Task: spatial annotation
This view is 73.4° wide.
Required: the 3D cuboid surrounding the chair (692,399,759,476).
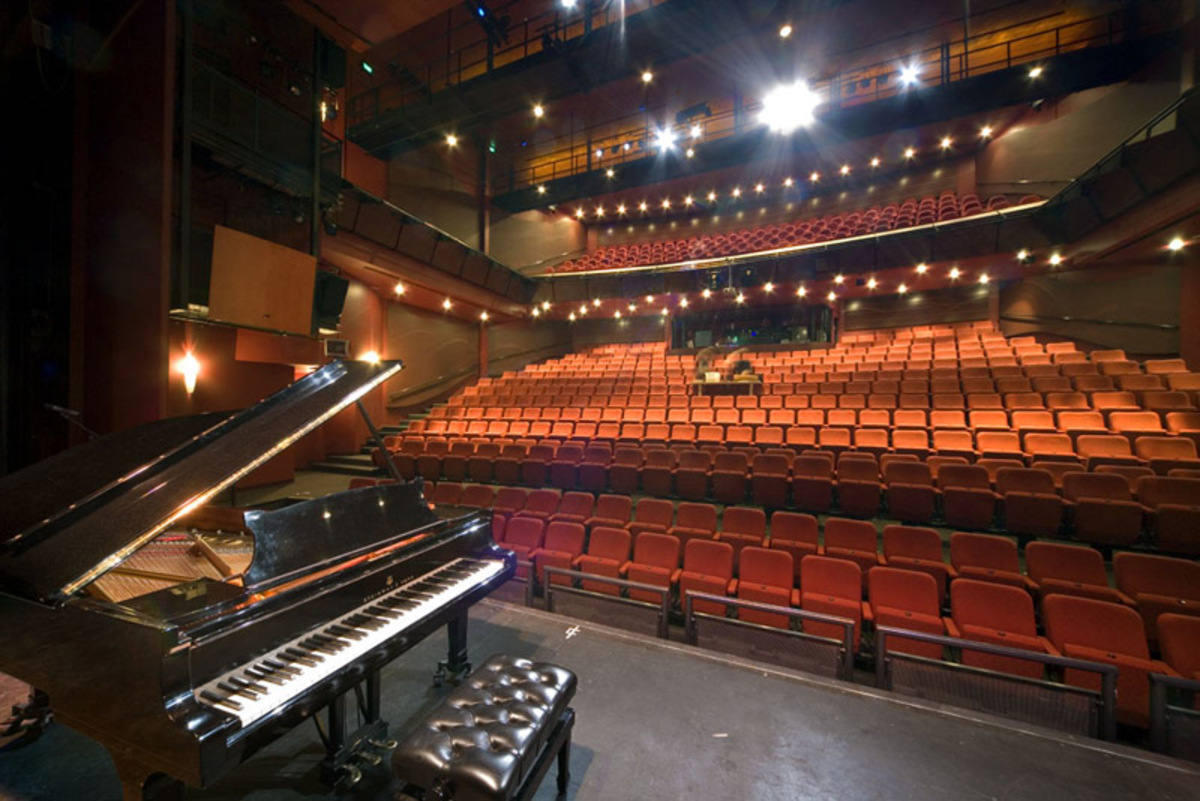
[{"bbox_3d":[1.757,0.653,11.736,0.747,0.984,0.798,-3,-14,17],"label":"chair"}]
